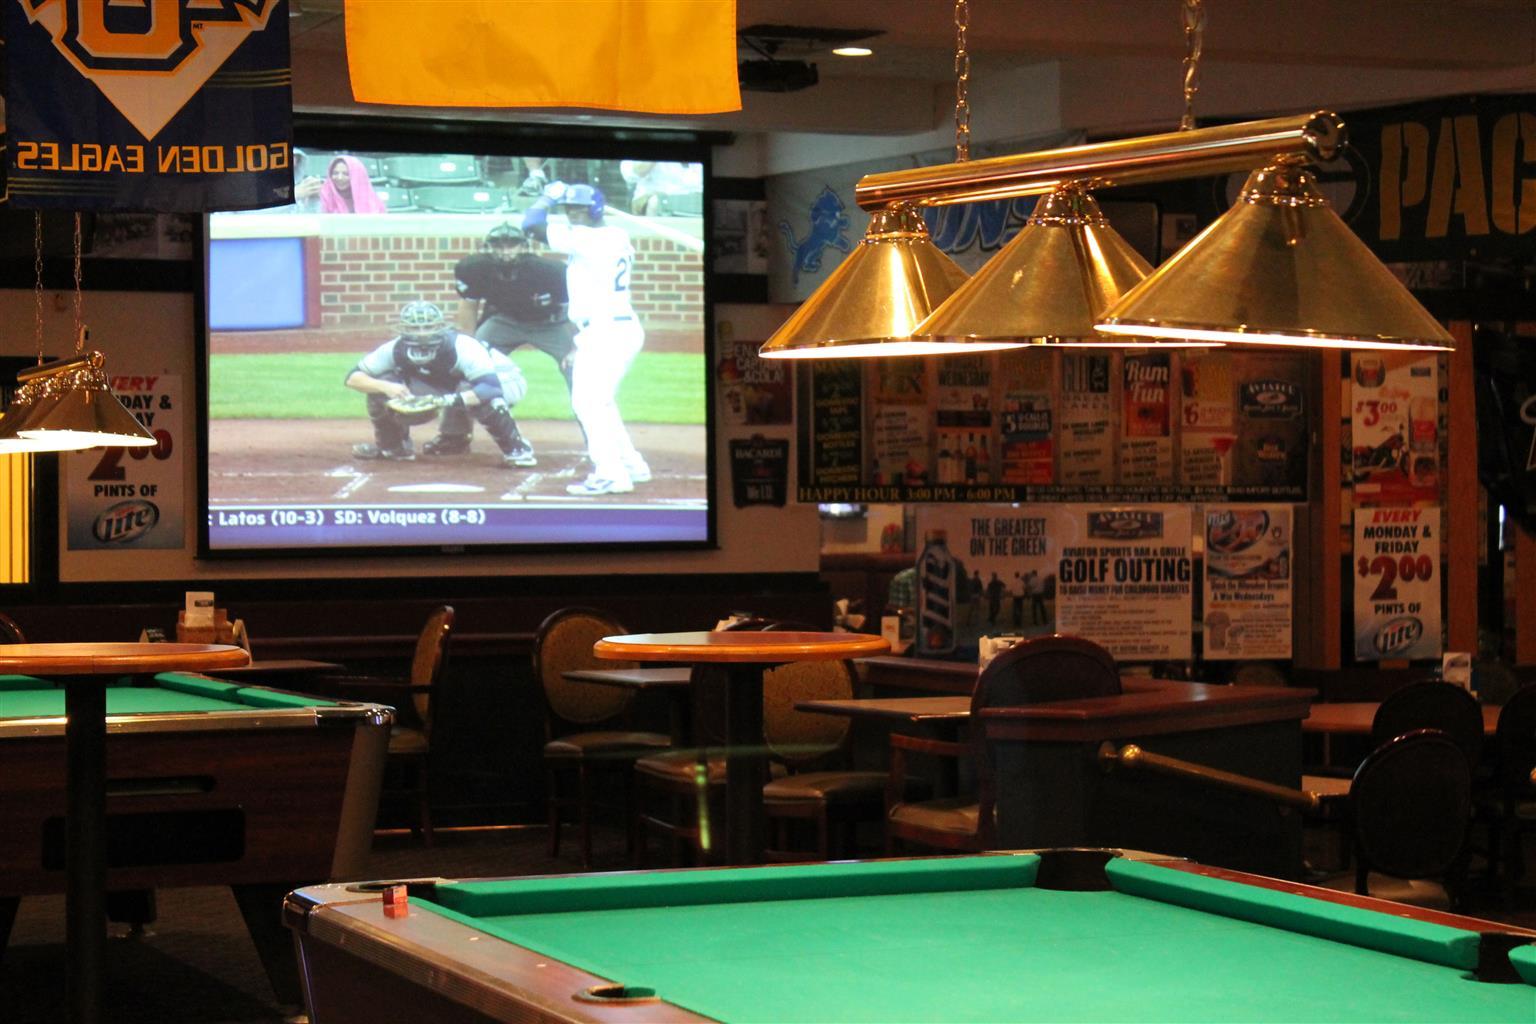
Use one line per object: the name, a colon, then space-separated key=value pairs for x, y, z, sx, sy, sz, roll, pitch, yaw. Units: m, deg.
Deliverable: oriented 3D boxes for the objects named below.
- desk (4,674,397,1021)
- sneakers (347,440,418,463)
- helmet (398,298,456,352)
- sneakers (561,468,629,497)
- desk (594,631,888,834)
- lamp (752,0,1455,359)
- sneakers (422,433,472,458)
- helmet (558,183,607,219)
desk: x=-2.098 y=1.187 z=7.623 sx=1.120 sy=0.795 sz=1.522 roll=3 pitch=-5 yaw=-36
sneakers: x=-2.153 y=-0.323 z=11.466 sx=0.326 sy=0.124 sz=0.114 roll=-1 pitch=1 yaw=-8
helmet: x=-1.920 y=-1.031 z=11.583 sx=0.253 sy=0.238 sz=0.300 roll=-3 pitch=3 yaw=-12
sneakers: x=-0.983 y=-0.153 z=11.809 sx=0.349 sy=0.135 sz=0.118 roll=3 pitch=-4 yaw=-10
desk: x=-0.284 y=0.965 z=9.032 sx=0.918 sy=0.939 sz=0.877 roll=-6 pitch=7 yaw=-38
lamp: x=1.486 y=-1.409 z=8.447 sx=0.822 sy=1.019 sz=1.967 roll=7 pitch=-9 yaw=-35
sneakers: x=-1.799 y=-0.368 z=11.534 sx=0.241 sy=0.148 sz=0.103 roll=4 pitch=-5 yaw=-10
helmet: x=-1.060 y=-1.743 z=11.752 sx=0.243 sy=0.199 sz=0.175 roll=-9 pitch=9 yaw=-8
